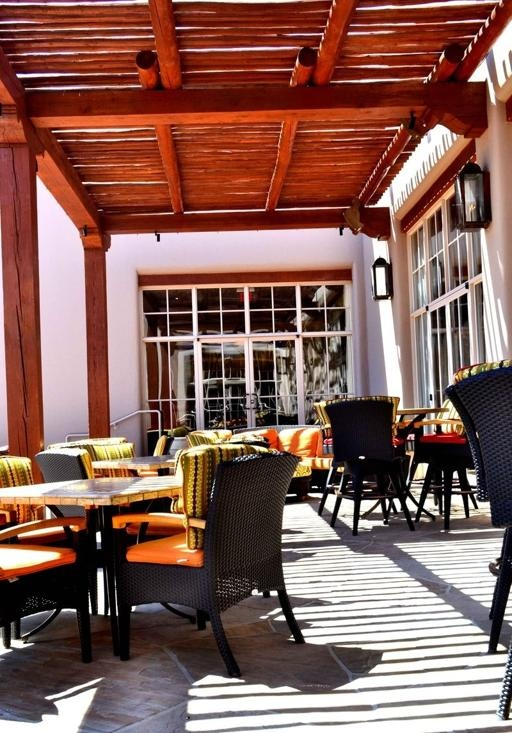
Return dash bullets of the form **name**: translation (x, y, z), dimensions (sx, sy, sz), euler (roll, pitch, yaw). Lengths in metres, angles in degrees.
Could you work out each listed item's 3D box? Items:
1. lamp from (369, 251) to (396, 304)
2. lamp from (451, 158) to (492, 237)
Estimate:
- **lamp**: translation (1.847, -1.257, 8.740), dimensions (0.325, 0.388, 0.412), euler (-4, -4, -18)
- **lamp**: translation (1.853, -1.451, 5.139), dimensions (0.290, 0.433, 0.230), euler (-7, -4, 22)
